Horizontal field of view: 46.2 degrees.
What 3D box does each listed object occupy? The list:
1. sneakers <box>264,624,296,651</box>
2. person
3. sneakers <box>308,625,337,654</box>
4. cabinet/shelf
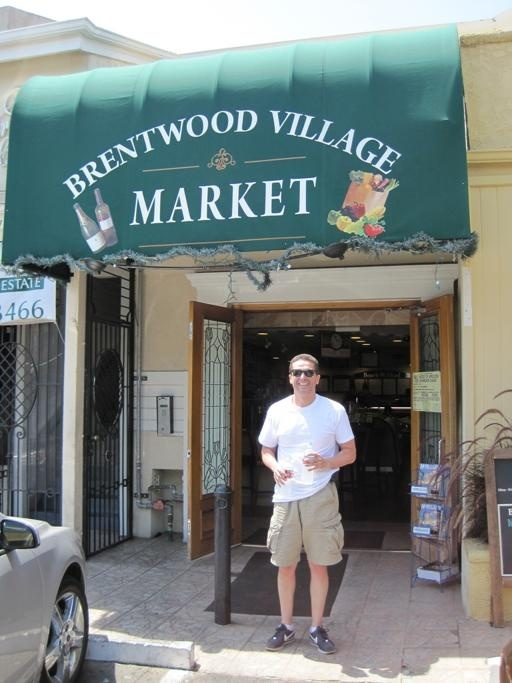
[{"bbox_3d":[0.149,1.805,3.672,0.080,0.102,0.227,-6,-12,30],"label":"sneakers"},{"bbox_3d":[0.312,0.962,3.637,0.590,1.774,0.456,-3,-6,7],"label":"person"},{"bbox_3d":[0.393,1.781,3.600,0.082,0.094,0.210,4,-9,-22],"label":"sneakers"},{"bbox_3d":[1.445,1.451,4.979,0.340,0.976,0.295,15,-23,-36],"label":"cabinet/shelf"}]
